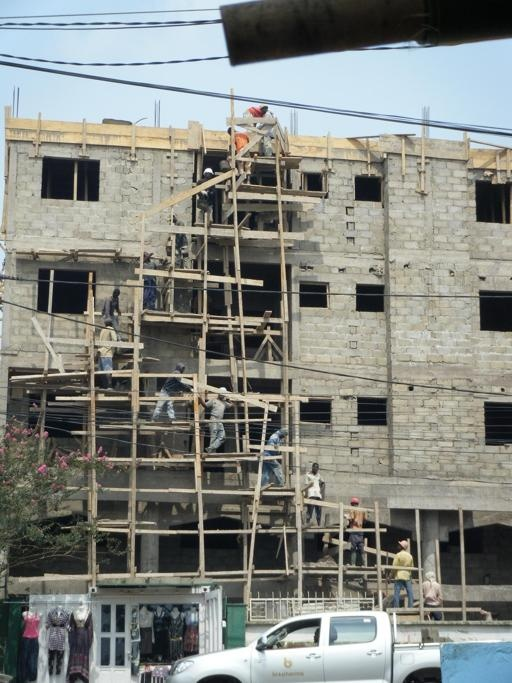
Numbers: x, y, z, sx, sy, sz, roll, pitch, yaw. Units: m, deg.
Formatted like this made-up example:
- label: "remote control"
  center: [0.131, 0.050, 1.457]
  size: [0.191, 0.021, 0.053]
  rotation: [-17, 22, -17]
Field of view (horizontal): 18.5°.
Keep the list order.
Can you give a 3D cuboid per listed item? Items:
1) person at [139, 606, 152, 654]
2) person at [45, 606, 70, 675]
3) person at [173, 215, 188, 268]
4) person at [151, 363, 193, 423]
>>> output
- label: "person"
  center: [-2.331, 6.176, 33.454]
  size: [0.286, 1.034, 0.188]
  rotation: [1, -9, -7]
- label: "person"
  center: [-4.199, 6.372, 33.292]
  size: [0.479, 1.446, 0.194]
  rotation: [1, -9, -9]
- label: "person"
  center: [-2.127, -2.667, 45.596]
  size: [0.361, 0.991, 1.011]
  rotation: [0, -9, 1]
- label: "person"
  center: [-2.281, 1.428, 42.512]
  size: [1.006, 1.650, 3.626]
  rotation: [0, -9, -3]
